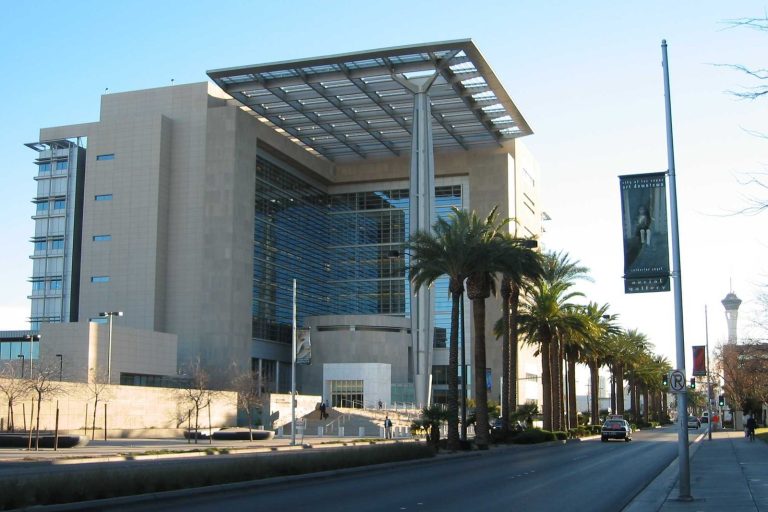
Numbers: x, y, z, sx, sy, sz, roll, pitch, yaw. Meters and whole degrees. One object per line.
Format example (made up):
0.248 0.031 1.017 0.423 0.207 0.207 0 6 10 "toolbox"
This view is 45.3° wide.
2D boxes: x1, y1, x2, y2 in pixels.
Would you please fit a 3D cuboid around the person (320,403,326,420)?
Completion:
-6.237 16.043 95.625 0.755 1.573 1.784 -1 -11 -2 "person"

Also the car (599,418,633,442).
19.835 14.841 79.234 2.420 1.848 2.039 -4 -11 12 "car"
